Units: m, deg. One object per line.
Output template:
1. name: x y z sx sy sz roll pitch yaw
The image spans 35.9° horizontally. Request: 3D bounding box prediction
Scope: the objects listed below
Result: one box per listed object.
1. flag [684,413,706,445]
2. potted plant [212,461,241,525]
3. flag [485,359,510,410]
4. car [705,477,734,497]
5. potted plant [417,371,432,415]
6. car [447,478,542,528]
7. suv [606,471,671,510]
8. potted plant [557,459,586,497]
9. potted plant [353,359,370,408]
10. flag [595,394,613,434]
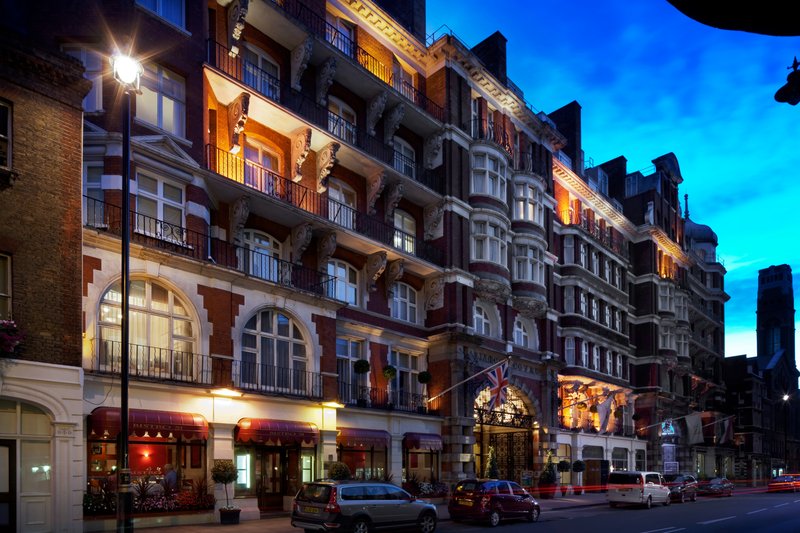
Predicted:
1. flag: 23.625 12.779 98.128 1.129 2.533 2.055 -4 -21 10
2. potted plant: -8.801 11.526 62.799 1.549 3.410 0.999 11 -23 -29
3. flag: 5.960 7.189 73.671 0.091 2.666 2.531 9 -21 -25
4. car: 23.622 16.328 90.668 1.075 0.951 2.510 -12 -24 34
5. potted plant: 1.584 7.520 74.156 0.879 2.537 1.543 -1 -21 1
6. car: 5.181 12.778 66.317 4.012 1.776 2.390 10 -16 -38
7. suv: 14.752 13.825 75.622 3.809 2.462 2.122 16 -27 -36
8. potted plant: 11.641 14.370 83.534 0.751 2.030 2.387 -11 -16 35
9. potted plant: -2.092 6.534 70.587 0.994 2.998 2.178 0 -21 -2
10. flag: 14.344 10.296 85.550 1.279 0.446 3.904 3 -47 12
